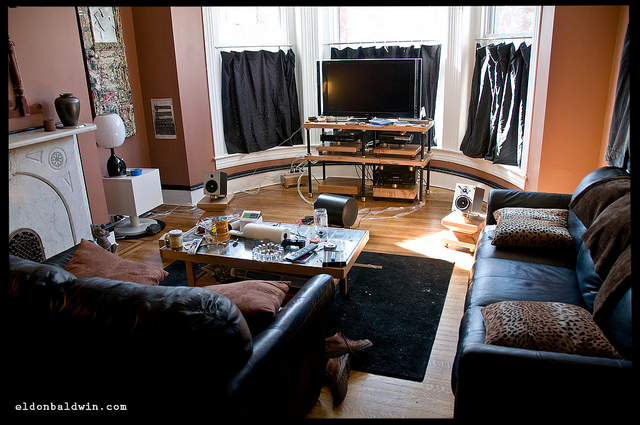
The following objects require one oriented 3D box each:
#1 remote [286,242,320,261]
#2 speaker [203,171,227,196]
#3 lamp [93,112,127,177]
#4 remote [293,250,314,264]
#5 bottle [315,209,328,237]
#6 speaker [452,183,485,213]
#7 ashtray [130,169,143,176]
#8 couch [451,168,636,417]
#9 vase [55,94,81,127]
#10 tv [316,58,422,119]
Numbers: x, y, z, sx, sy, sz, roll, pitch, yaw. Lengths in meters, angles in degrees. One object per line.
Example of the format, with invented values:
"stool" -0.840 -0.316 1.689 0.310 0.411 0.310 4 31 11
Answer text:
"remote" -0.130 0.303 3.477 0.084 0.020 0.265 10 27 31
"speaker" -1.180 -0.328 4.913 0.256 0.360 0.261 1 1 5
"lamp" -2.274 -0.746 4.774 0.298 0.679 0.195 -12 23 -25
"remote" -0.134 0.350 3.412 0.080 0.027 0.121 9 27 31
"bottle" 0.011 0.089 3.795 0.107 0.209 0.168 -3 20 -2
"speaker" 1.486 -0.141 4.459 0.204 0.264 0.263 10 5 20
"ashtray" -2.045 -0.449 4.833 0.083 0.052 0.082 2 13 12
"couch" 1.375 0.480 2.640 0.635 0.642 1.519 5 35 29
"vase" -2.370 -0.973 4.090 0.222 0.298 0.220 13 24 20
"tv" 0.634 -1.646 5.708 1.464 0.793 0.156 0 10 1
